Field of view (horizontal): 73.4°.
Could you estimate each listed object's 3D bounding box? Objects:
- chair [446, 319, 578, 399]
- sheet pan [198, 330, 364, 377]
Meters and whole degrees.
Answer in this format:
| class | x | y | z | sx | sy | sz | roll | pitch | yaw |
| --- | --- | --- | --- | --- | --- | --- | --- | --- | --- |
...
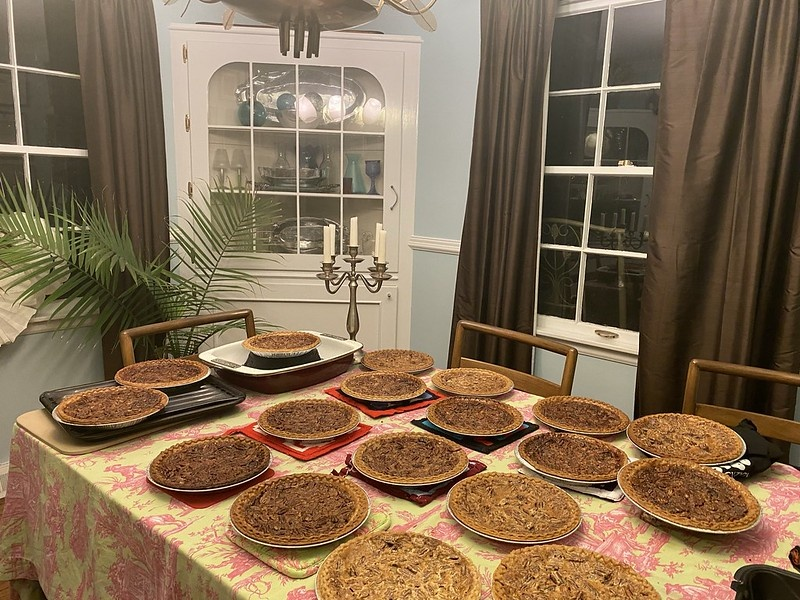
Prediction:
| class | x | y | z | sx | sy | sz | roll | pitch | yaw |
| --- | --- | --- | --- | --- | --- | --- | --- | --- | --- |
| chair | 0.514 | 0.261 | 2.413 | 0.295 | 0.514 | 0.308 | 18 | 10 | 36 |
| sheet pan | -0.419 | 0.203 | 1.902 | 0.233 | 0.048 | 0.336 | 13 | 17 | 43 |
